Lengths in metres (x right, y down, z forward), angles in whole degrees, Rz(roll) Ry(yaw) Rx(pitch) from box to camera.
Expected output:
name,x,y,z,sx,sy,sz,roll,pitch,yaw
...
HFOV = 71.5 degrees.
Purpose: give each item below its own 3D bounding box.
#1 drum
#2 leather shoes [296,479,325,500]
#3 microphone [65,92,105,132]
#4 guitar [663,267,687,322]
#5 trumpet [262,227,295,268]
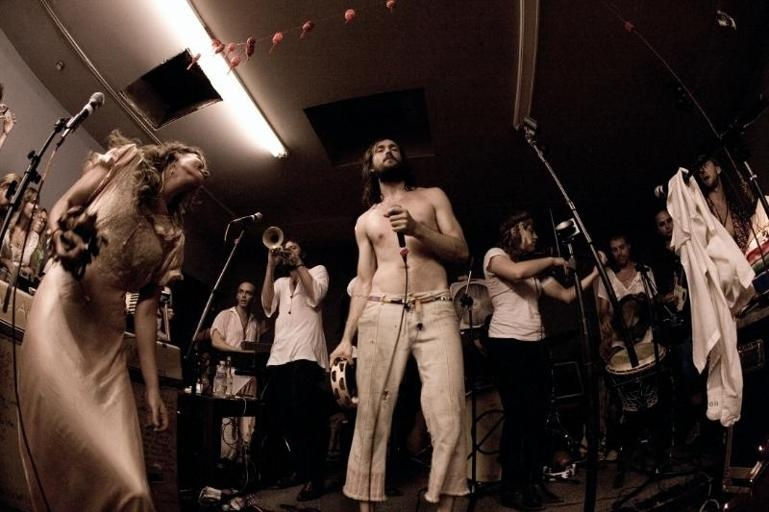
name,x,y,z,sx,sy,sz,roll,pitch,yaw
drum,1.676,0.857,3.523,0.228,0.226,0.232,-9,-10,-15
leather shoes,-0.502,1.590,3.618,0.210,0.091,0.072,16,-26,-39
microphone,-1.772,-0.864,3.147,0.176,0.284,0.112,-15,-19,18
guitar,2.233,0.254,4.089,0.061,0.328,0.204,-10,14,-6
trumpet,-0.842,-0.108,4.304,0.159,0.165,0.325,-19,-11,14
